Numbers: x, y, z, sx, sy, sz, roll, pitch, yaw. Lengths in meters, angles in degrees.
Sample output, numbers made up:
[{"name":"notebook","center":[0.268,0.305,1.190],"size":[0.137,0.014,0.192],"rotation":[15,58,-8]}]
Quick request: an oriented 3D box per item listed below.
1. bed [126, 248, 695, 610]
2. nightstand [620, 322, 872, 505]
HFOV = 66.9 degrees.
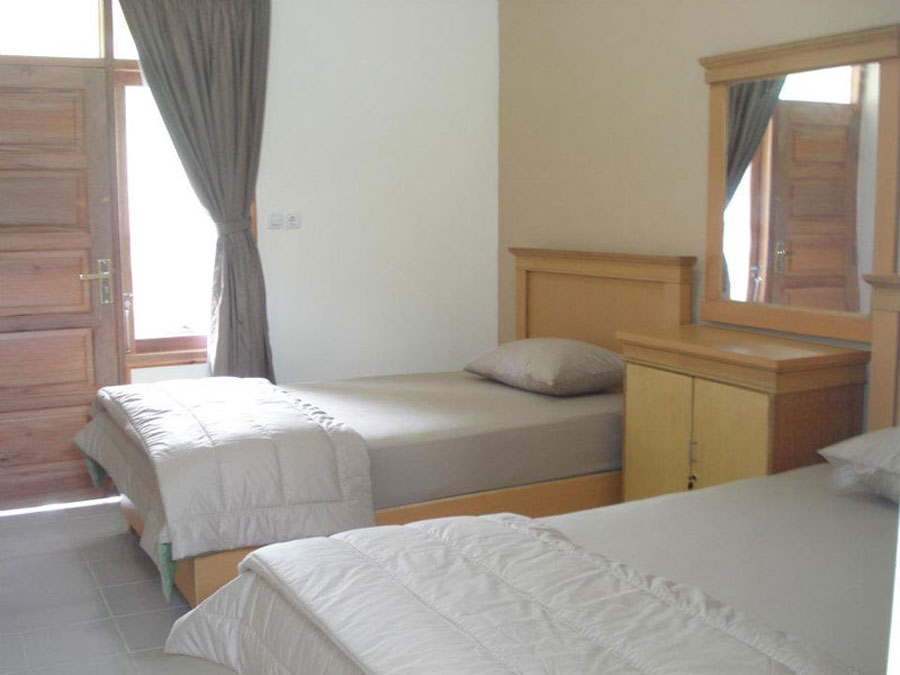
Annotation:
[{"name":"bed","center":[0.090,0.100,3.640],"size":[1.856,1.152,1.358],"rotation":[0,11,-30]},{"name":"nightstand","center":[1.241,0.302,3.166],"size":[0.651,1.082,1.127],"rotation":[-3,7,-32]}]
